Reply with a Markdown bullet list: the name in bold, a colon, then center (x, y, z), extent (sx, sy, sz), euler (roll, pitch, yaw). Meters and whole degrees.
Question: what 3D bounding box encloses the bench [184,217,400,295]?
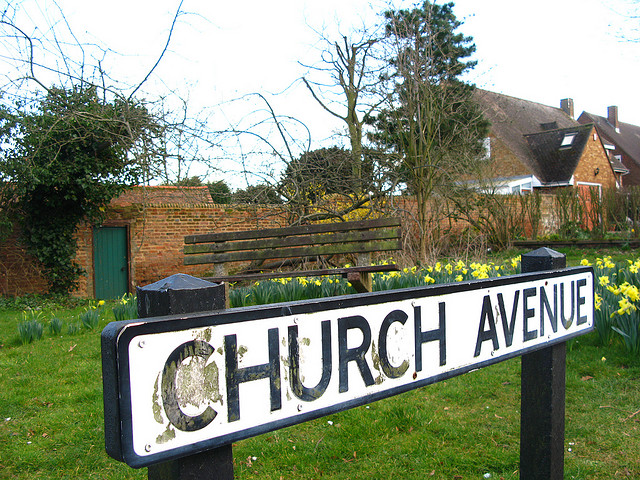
- **bench**: center (-0.511, 0.593, 9.318), extent (2.971, 1.826, 0.994), euler (-3, -5, 7)
